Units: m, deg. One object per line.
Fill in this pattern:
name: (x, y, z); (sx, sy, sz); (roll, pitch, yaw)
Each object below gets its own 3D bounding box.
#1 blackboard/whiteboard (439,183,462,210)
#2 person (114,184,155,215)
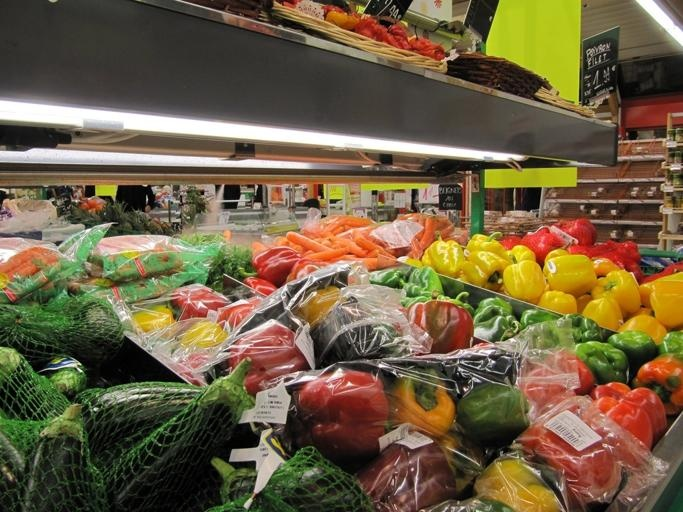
blackboard/whiteboard: (1.120, -0.616, 4.259); (0.281, 0.308, 0.044); (0, -3, 35)
person: (-2.519, -0.710, 5.091); (0.385, 0.317, 2.229); (-8, 12, -25)
